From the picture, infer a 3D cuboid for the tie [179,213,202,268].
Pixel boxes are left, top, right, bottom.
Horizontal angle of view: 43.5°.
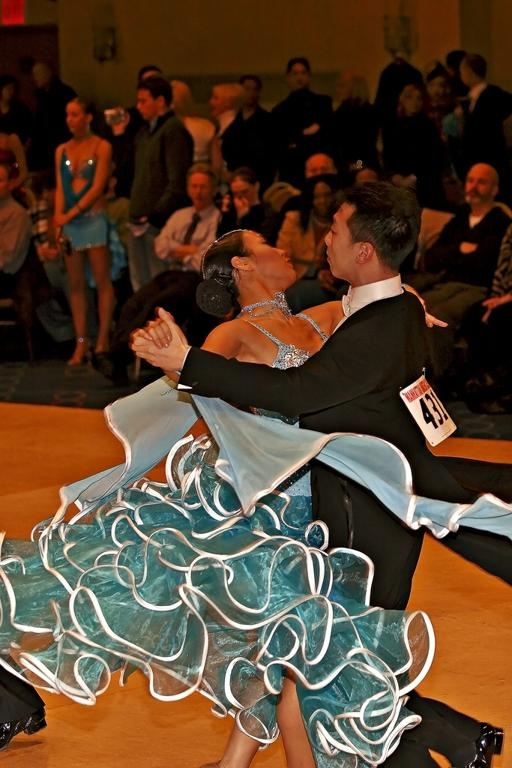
[{"bbox_3d":[-0.459,-1.010,4.495,0.235,0.324,0.088,13,8,15],"label":"tie"}]
